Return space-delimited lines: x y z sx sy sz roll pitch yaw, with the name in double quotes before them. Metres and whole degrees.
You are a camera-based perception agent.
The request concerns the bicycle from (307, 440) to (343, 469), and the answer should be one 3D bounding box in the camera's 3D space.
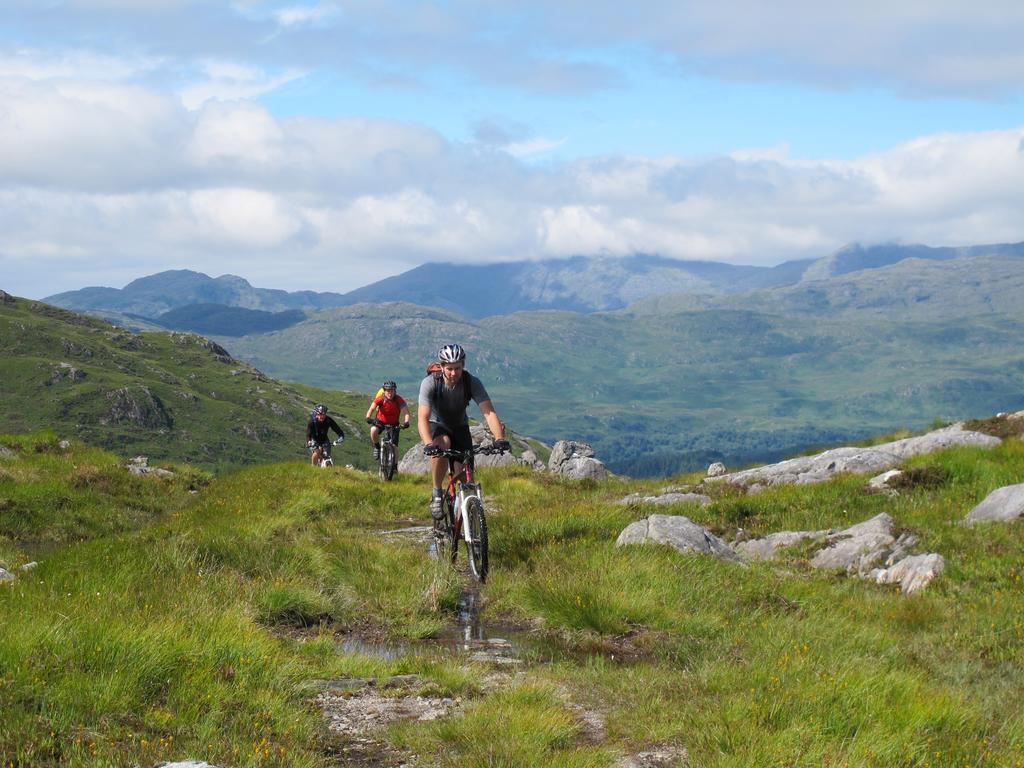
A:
"bicycle" -7.539 2.724 42.616 0.873 0.872 1.362 0 -4 -23
